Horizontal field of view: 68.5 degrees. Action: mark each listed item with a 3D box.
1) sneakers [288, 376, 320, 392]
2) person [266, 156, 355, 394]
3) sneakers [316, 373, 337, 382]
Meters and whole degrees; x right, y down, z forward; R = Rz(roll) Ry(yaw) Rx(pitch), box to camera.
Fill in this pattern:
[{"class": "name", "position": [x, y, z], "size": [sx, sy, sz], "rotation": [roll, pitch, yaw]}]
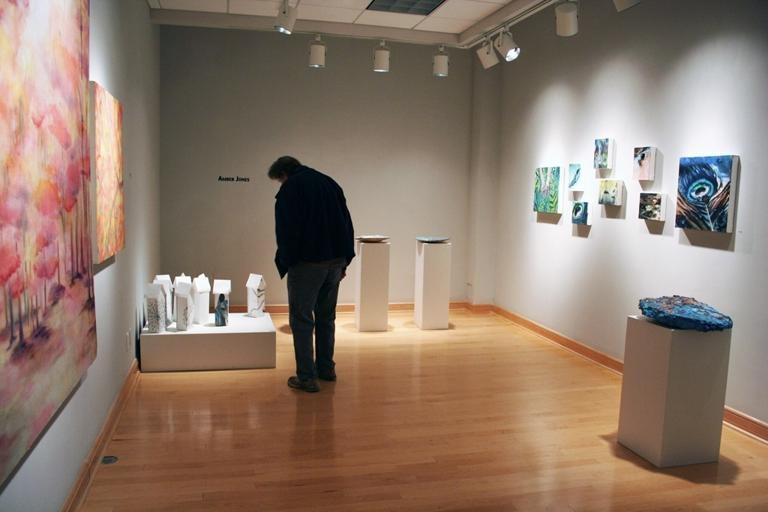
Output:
[{"class": "sneakers", "position": [-0.723, 1.134, 5.059], "size": [0.286, 0.133, 0.116], "rotation": [11, 10, 39]}, {"class": "person", "position": [-0.623, 0.173, 5.022], "size": [0.685, 2.016, 0.509], "rotation": [0, 11, -10]}, {"class": "sneakers", "position": [-0.529, 1.132, 5.223], "size": [0.139, 0.060, 0.075], "rotation": [3, 2, -1]}]
